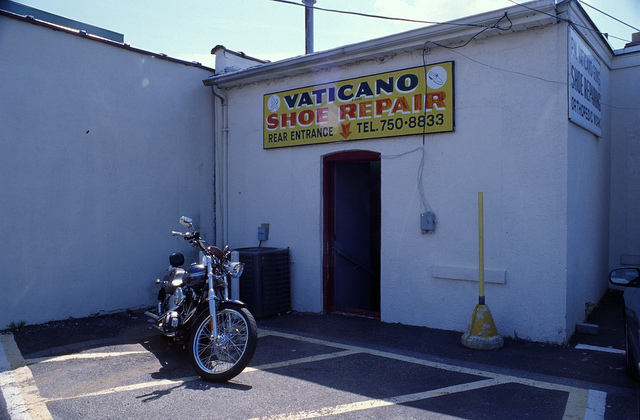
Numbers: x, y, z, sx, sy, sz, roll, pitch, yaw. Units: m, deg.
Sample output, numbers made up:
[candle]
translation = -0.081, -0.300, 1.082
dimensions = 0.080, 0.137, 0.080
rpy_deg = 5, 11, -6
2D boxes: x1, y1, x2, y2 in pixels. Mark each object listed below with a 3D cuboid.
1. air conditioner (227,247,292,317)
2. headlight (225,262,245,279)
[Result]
[air conditioner]
translation = -1.112, 1.356, 10.880
dimensions = 1.125, 1.254, 1.143
rpy_deg = 0, 6, 16
[headlight]
translation = -1.268, 0.895, 8.103
dimensions = 0.248, 0.234, 0.162
rpy_deg = -7, 13, -27
